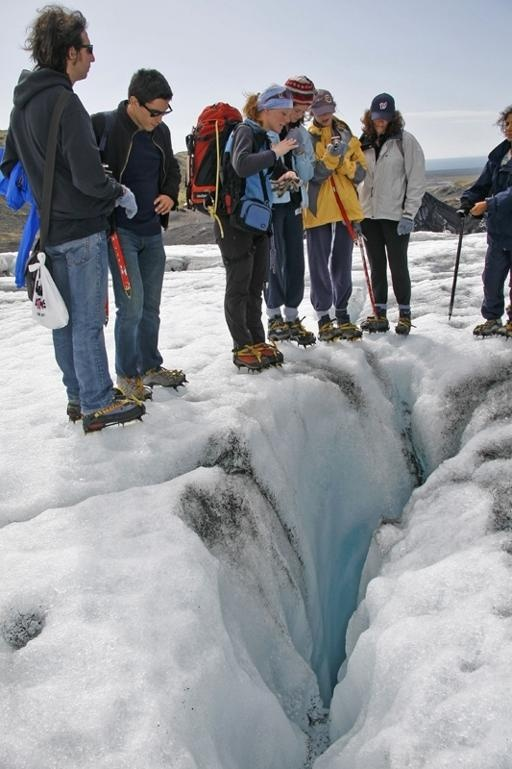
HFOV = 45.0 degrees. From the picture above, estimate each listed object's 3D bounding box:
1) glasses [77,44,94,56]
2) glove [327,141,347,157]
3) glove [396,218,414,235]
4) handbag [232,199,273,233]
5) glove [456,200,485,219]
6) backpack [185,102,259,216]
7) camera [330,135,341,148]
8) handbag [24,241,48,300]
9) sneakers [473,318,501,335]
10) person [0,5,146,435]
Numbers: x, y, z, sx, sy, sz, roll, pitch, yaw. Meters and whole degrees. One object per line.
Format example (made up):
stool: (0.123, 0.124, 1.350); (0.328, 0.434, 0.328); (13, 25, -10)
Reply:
glasses: (-0.741, -1.483, 2.713); (0.022, 0.033, 0.073); (4, 14, 24)
glove: (0.555, -1.628, 4.221); (0.095, 0.050, 0.133); (6, 29, 8)
glove: (1.105, -1.169, 4.552); (0.045, 0.111, 0.111); (6, 8, -8)
handbag: (-0.025, -0.956, 3.467); (0.177, 0.172, 0.097); (4, 12, -35)
glove: (1.674, -1.328, 4.690); (0.145, 0.061, 0.203); (-2, 36, 31)
backpack: (-0.249, -1.300, 3.515); (0.335, 0.595, 0.267); (0, 12, 3)
camera: (0.533, -1.646, 4.166); (0.029, 0.077, 0.079); (-5, 15, -40)
handbag: (-1.054, -0.541, 2.957); (0.173, 0.247, 0.072); (3, -9, 39)
sneakers: (1.771, -0.449, 4.781); (0.087, 0.120, 0.237); (-19, 13, -30)
person: (-0.843, -0.690, 2.901); (0.565, 1.944, 0.421); (-3, 12, -11)
